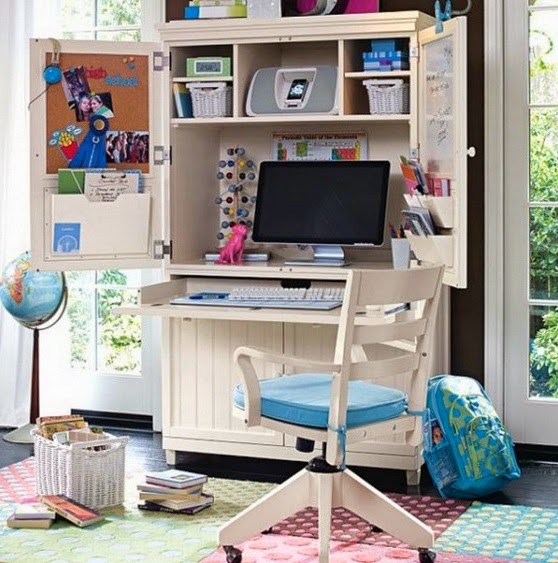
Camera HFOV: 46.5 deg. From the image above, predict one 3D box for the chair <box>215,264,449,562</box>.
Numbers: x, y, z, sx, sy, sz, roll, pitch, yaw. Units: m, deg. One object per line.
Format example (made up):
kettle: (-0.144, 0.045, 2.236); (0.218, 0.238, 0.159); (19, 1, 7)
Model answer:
chair: (0.163, 0.358, 1.809); (0.578, 0.699, 0.777); (0, 0, 13)

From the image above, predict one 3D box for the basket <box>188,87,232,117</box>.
basket: (-0.261, -0.682, 2.489); (0.154, 0.107, 0.122); (-1, 10, 2)

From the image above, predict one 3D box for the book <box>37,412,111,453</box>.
book: (-0.771, 0.533, 2.350); (0.172, 0.069, 0.126); (9, 9, 37)

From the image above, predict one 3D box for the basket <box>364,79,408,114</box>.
basket: (0.387, -0.660, 2.333); (0.137, 0.094, 0.148); (1, 8, 16)

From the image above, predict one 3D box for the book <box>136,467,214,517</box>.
book: (-0.350, 0.693, 2.147); (0.236, 0.112, 0.129); (0, 1, 21)

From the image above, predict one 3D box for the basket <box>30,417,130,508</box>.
basket: (-0.694, 0.615, 2.278); (0.241, 0.239, 0.319); (1, 4, -34)

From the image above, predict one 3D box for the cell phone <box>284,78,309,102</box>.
cell phone: (0.069, -0.726, 2.478); (0.080, 0.087, 0.076); (0, 0, 15)
